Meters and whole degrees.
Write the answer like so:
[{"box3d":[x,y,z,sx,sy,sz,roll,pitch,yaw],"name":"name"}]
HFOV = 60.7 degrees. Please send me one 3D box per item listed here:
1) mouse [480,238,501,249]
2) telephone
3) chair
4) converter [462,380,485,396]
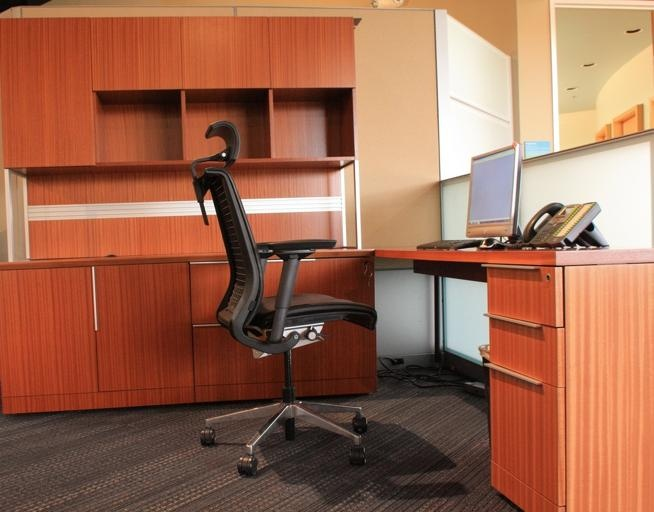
[{"box3d":[0.802,-0.060,2.733,0.055,0.025,0.082,-1,-2,-17],"name":"mouse"},{"box3d":[1.054,-0.139,2.515,0.255,0.182,0.329,-6,3,-9],"name":"telephone"},{"box3d":[-0.261,0.174,2.841,0.968,1.694,0.765,2,12,20],"name":"chair"},{"box3d":[0.947,0.851,3.581,0.150,0.028,0.135,0,2,-21],"name":"converter"}]
